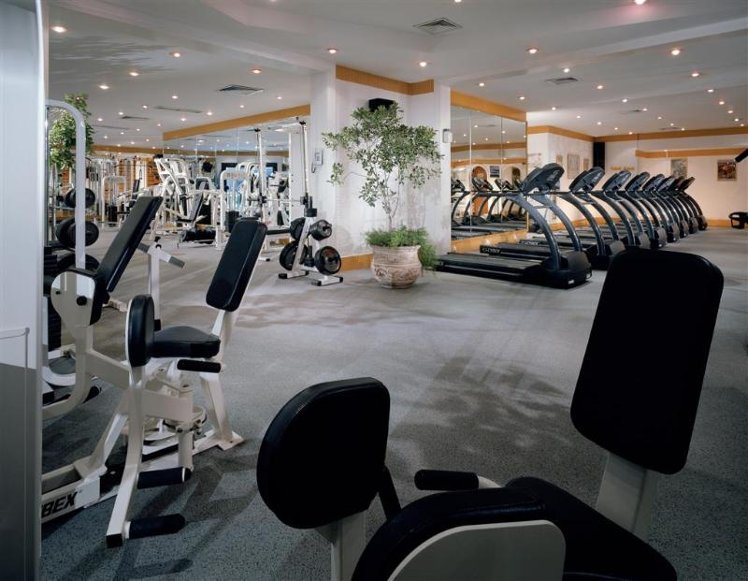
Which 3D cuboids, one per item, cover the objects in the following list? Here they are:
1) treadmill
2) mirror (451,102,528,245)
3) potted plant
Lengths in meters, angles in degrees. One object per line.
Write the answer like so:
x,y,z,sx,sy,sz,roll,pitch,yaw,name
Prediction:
5.461,-2.368,12.791,5.581,1.766,15.408,11,16,39,treadmill
2.371,-2.457,9.598,0.048,2.416,3.319,2,5,35,mirror
0.299,-1.494,6.529,1.557,3.315,1.183,10,10,30,potted plant
